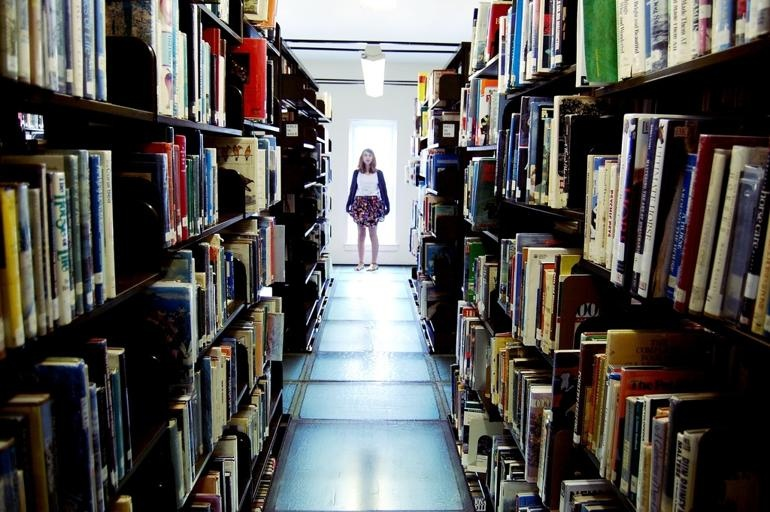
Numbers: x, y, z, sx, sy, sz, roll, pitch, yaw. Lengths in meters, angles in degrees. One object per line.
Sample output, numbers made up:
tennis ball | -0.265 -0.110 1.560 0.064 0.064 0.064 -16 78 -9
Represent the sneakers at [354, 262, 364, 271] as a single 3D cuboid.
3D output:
sneakers | -0.357 0.146 8.445 0.097 0.292 0.116 -2 -91 0
